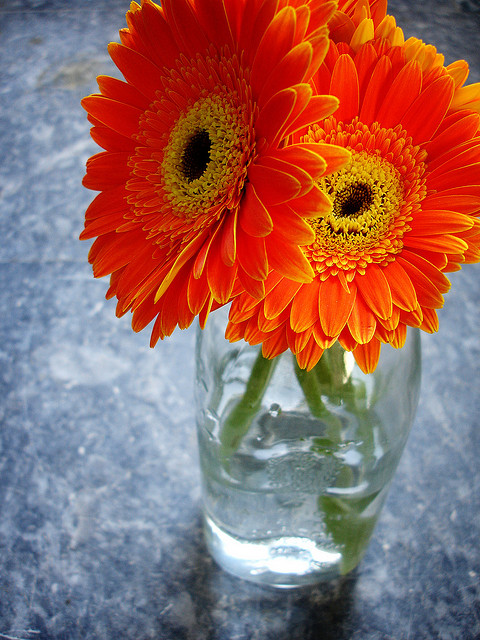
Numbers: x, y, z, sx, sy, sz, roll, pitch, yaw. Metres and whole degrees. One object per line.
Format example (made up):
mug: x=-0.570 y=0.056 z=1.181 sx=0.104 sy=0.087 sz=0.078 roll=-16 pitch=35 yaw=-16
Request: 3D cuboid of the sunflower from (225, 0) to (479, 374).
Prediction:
sunflower: x=0.072 y=-0.065 z=0.334 sx=0.148 sy=0.167 sz=0.063 roll=-20 pitch=-12 yaw=28

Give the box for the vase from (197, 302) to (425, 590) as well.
vase: x=0.037 y=0.074 z=0.495 sx=0.148 sy=0.239 sz=0.144 roll=1 pitch=30 yaw=-8
